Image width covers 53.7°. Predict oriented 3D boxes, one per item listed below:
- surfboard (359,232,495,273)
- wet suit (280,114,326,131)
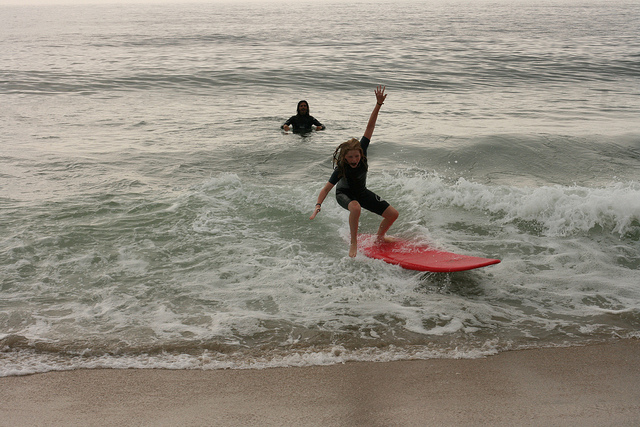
[{"bbox_3d":[1.724,0.718,11.328,2.695,0.183,0.688,7,17,34],"label":"surfboard"},{"bbox_3d":[-0.530,-2.665,18.416,1.327,0.388,0.637,1,27,1],"label":"wet suit"}]
